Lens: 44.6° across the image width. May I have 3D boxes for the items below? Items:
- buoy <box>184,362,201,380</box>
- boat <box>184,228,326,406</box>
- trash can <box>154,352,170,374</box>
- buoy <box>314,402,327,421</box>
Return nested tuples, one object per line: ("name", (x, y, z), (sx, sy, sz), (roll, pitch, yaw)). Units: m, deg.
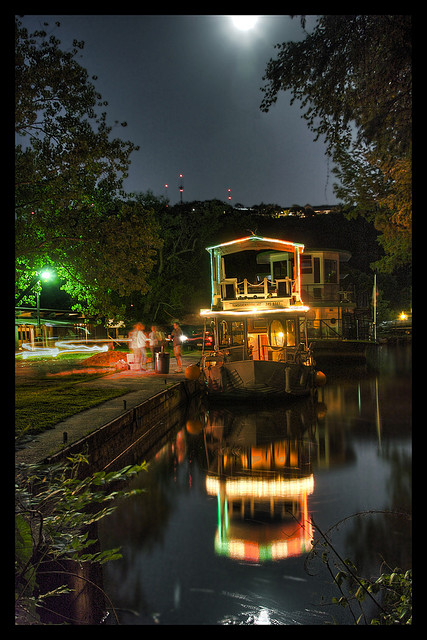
("buoy", (-0.733, 1.828, 17.835), (0.411, 0.550, 0.662), (-2, 0, 32))
("boat", (1.652, 0.373, 21.780), (3.535, 5.830, 10.600), (-1, -2, 3))
("trash can", (-1.998, 1.634, 19.370), (0.734, 0.790, 0.370), (-3, -1, 44))
("buoy", (3.553, 3.041, 17.283), (0.303, 0.406, 0.327), (1, -7, -20))
